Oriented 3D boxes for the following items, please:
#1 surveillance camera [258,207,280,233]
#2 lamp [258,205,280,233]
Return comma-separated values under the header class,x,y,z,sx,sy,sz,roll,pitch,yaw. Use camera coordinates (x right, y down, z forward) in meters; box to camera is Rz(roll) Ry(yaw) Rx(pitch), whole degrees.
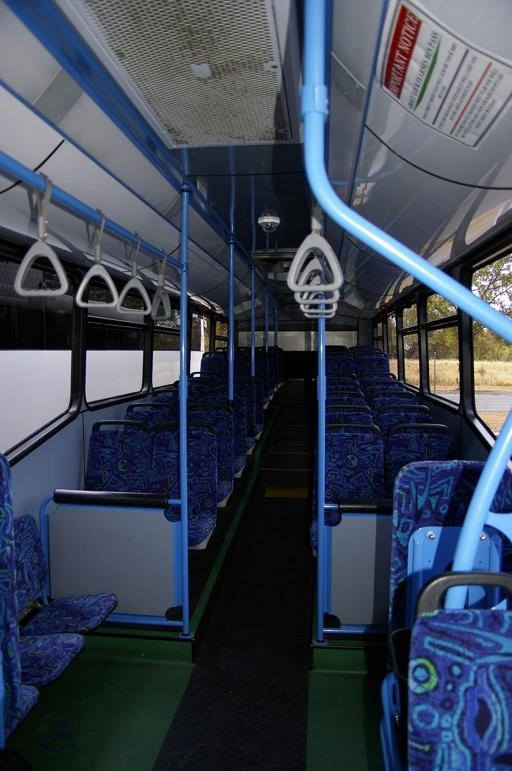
class,x,y,z,sx,sy,sz,roll,pitch,yaw
surveillance camera,0.106,-1.217,3.795,0.108,0.124,0.111,-4,5,-26
lamp,0.100,-1.218,3.788,0.110,0.123,0.109,0,-2,-37
